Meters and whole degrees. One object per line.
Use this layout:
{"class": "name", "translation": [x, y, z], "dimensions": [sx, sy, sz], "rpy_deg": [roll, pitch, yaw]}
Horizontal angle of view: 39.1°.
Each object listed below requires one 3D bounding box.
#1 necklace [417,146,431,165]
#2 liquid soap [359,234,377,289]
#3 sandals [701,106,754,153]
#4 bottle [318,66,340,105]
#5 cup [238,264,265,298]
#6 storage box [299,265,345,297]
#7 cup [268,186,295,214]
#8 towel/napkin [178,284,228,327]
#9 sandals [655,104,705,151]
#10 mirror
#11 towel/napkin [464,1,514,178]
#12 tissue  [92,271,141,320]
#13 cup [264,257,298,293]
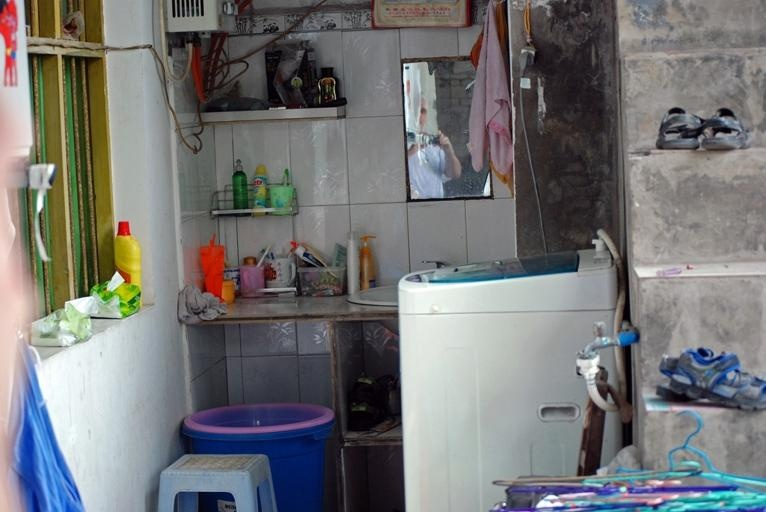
{"class": "necklace", "translation": [0.199, -0.492, 5.195], "dimensions": [0.064, 0.087, 0.026], "rpy_deg": [-2, 1, 0]}
{"class": "liquid soap", "translation": [-0.074, 0.025, 5.191], "dimensions": [0.080, 0.254, 0.122], "rpy_deg": [-3, 4, -1]}
{"class": "sandals", "translation": [1.103, -0.407, 3.471], "dimensions": [0.158, 0.134, 0.182], "rpy_deg": [-2, 4, 18]}
{"class": "bottle", "translation": [-0.259, -0.807, 5.115], "dimensions": [0.100, 0.185, 0.125], "rpy_deg": [-3, 4, -3]}
{"class": "cup", "translation": [-0.631, 0.118, 5.169], "dimensions": [0.118, 0.166, 0.140], "rpy_deg": [-1, -3, 31]}
{"class": "storage box", "translation": [-0.296, 0.117, 5.069], "dimensions": [0.181, 0.104, 0.130], "rpy_deg": [1, -2, 6]}
{"class": "cup", "translation": [-0.490, -0.265, 5.195], "dimensions": [0.125, 0.106, 0.127], "rpy_deg": [-2, -5, 0]}
{"class": "towel/napkin", "translation": [-0.796, 0.208, 4.715], "dimensions": [0.172, 0.084, 0.177], "rpy_deg": [2, 1, 24]}
{"class": "sandals", "translation": [0.979, -0.423, 3.507], "dimensions": [0.149, 0.095, 0.264], "rpy_deg": [0, 25, 21]}
{"class": "mirror", "translation": [0.314, -0.633, 5.185], "dimensions": [0.456, 0.742, 0.023], "rpy_deg": [1, -19, -1]}
{"class": "towel/napkin", "translation": [0.438, -0.675, 4.476], "dimensions": [0.178, 0.753, 0.344], "rpy_deg": [-2, 4, 5]}
{"class": "tissue ", "translation": [-1.056, 0.158, 4.243], "dimensions": [0.182, 0.151, 0.195], "rpy_deg": [0, 12, -10]}
{"class": "cup", "translation": [-0.493, 0.089, 5.241], "dimensions": [0.144, 0.170, 0.188], "rpy_deg": [-2, 2, -33]}
